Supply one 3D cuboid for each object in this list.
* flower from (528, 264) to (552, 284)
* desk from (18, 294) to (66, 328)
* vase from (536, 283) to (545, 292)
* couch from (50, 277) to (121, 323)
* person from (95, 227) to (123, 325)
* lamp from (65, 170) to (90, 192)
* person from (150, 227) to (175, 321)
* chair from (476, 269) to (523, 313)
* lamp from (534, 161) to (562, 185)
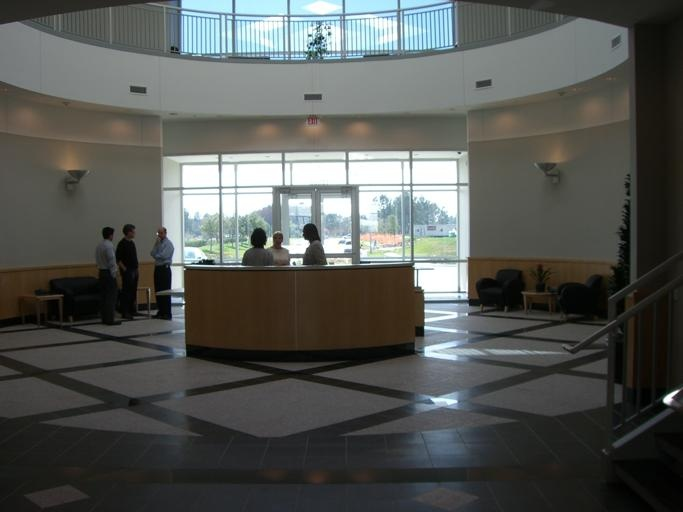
[{"bbox_3d":[4.698,0.436,13.033,0.458,0.437,0.483,0,-1,21],"label":"flower"},{"bbox_3d":[-6.377,1.135,11.871,0.755,0.786,0.773,-4,-4,34],"label":"desk"},{"bbox_3d":[4.525,0.741,12.548,0.172,0.178,0.173,0,2,3],"label":"vase"},{"bbox_3d":[-5.923,0.952,12.490,0.741,0.897,1.050,1,1,26],"label":"couch"},{"bbox_3d":[-5.057,0.436,11.931,0.422,2.064,0.736,-3,3,-23],"label":"person"},{"bbox_3d":[-6.278,-1.753,13.018,0.466,0.643,0.471,2,3,8],"label":"lamp"},{"bbox_3d":[-4.074,0.403,12.649,0.476,2.079,1.529,-2,3,-19],"label":"person"},{"bbox_3d":[3.867,0.881,13.466,0.851,1.070,0.961,4,-3,-44],"label":"chair"},{"bbox_3d":[4.892,-1.931,13.096,0.475,0.472,0.521,-5,5,-2],"label":"lamp"}]
